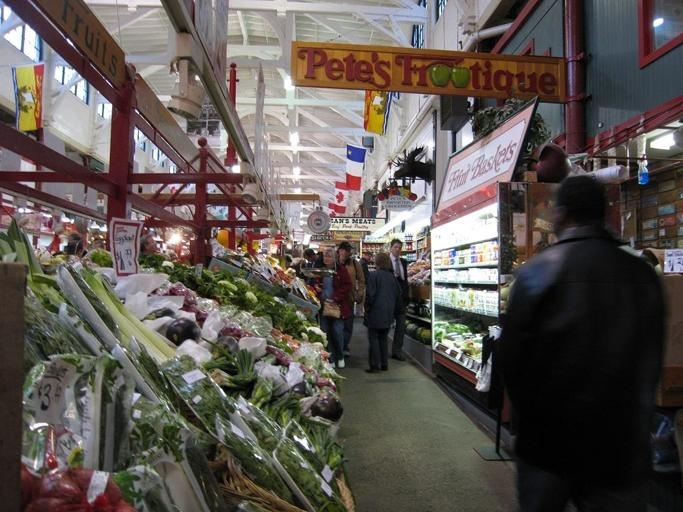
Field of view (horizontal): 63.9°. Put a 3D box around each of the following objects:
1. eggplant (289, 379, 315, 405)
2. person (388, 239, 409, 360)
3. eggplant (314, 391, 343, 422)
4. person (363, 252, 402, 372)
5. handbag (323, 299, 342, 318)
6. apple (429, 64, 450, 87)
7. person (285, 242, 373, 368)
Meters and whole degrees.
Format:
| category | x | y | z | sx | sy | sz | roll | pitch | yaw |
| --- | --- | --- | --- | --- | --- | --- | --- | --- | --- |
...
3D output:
| category | x | y | z | sx | sy | sz | roll | pitch | yaw |
| --- | --- | --- | --- | --- | --- | --- | --- | --- | --- |
| eggplant | -0.226 | 0.758 | 3.121 | 0.099 | 0.083 | 0.057 | 25 | -52 | -23 |
| person | 0.868 | 0.643 | 8.231 | 0.345 | 1.684 | 0.342 | 3 | 4 | -3 |
| eggplant | -0.073 | 0.834 | 3.057 | 0.145 | 0.121 | 0.128 | 1 | -35 | 4 |
| person | 0.511 | 0.697 | 7.404 | 0.456 | 1.417 | 0.607 | 0 | 0 | -6 |
| handbag | -0.127 | 0.689 | 7.391 | 0.219 | 0.242 | 0.089 | 0 | -13 | 15 |
| apple | 1.239 | -2.266 | 7.037 | 0.239 | 0.280 | 0.255 | 1 | 0 | -24 |
| person | 0.056 | 0.625 | 7.690 | 0.509 | 1.885 | 0.697 | 0 | 0 | -9 |
